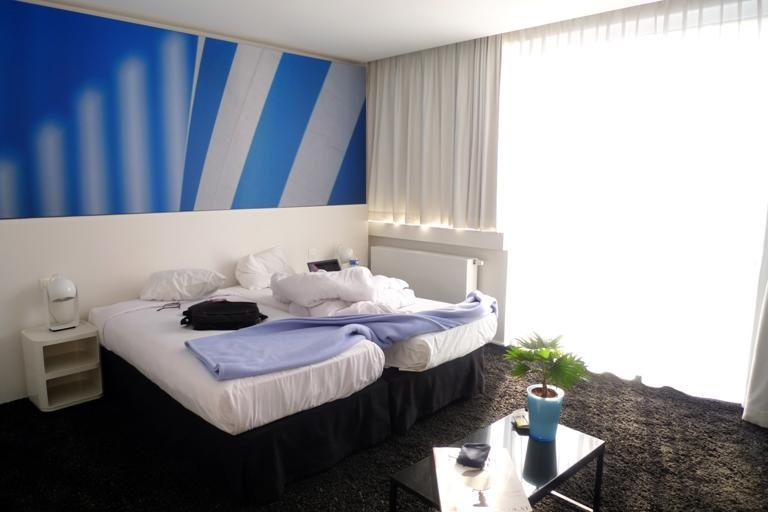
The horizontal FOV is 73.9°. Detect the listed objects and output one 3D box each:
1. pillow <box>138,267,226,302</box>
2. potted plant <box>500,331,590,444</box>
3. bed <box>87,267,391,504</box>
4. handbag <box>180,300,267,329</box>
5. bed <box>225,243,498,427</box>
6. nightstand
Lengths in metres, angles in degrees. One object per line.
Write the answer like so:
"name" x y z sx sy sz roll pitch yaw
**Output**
"pillow" -2.027 0.225 5.082 0.726 0.257 0.605 -15 12 -16
"potted plant" 1.093 0.828 3.656 0.730 0.808 0.721 0 8 10
"bed" -1.375 0.950 4.636 2.821 0.873 1.760 10 13 40
"handbag" -1.336 0.504 4.240 0.393 0.120 0.303 0 4 -36
"bed" 0.220 0.699 5.152 1.950 0.596 1.365 -9 14 -40
"nightstand" -2.852 0.958 4.553 0.505 0.619 0.538 10 14 33
